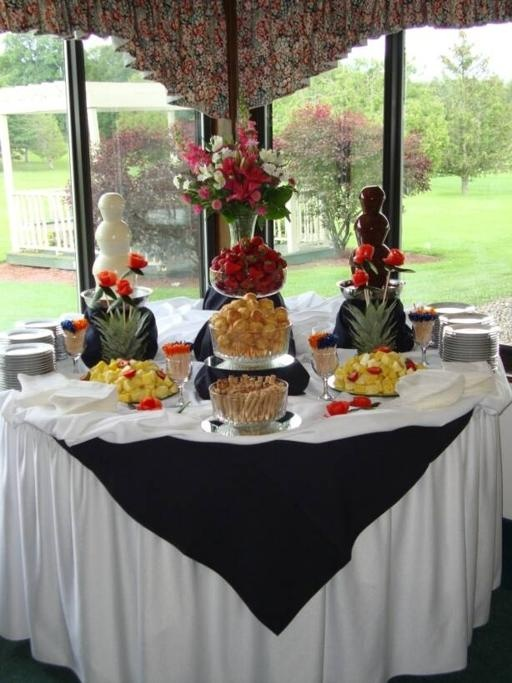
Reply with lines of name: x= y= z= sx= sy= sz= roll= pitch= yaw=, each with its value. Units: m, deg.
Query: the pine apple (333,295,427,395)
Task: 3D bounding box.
pine apple: x=0.366 y=-0.003 z=1.949 sx=0.340 sy=0.313 sz=0.346 roll=-1 pitch=8 yaw=3

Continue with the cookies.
cookies: x=-0.018 y=0.153 z=1.465 sx=0.163 sy=0.087 sz=0.162 roll=-1 pitch=2 yaw=0

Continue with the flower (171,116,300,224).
flower: x=-0.068 y=-0.607 z=2.230 sx=0.504 sy=0.375 sz=0.468 roll=2 pitch=16 yaw=-1

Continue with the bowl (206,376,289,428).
bowl: x=-0.013 y=0.148 z=1.462 sx=0.156 sy=0.067 sz=0.157 roll=-1 pitch=4 yaw=0

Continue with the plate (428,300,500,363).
plate: x=0.834 y=-0.038 z=2.308 sx=0.164 sy=0.108 sz=0.503 roll=0 pitch=10 yaw=9
